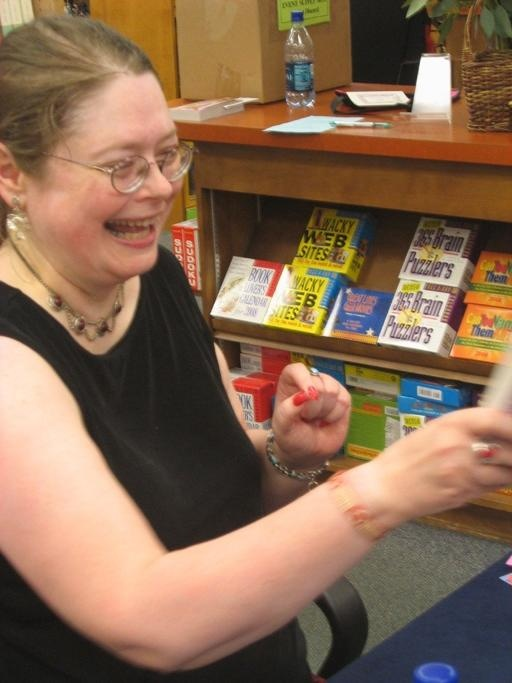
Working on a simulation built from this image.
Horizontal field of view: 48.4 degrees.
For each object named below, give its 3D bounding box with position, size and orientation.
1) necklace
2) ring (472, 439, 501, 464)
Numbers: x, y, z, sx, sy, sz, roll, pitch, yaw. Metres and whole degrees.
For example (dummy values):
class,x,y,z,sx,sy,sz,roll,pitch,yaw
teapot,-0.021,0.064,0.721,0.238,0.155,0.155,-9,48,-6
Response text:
class,x,y,z,sx,sy,sz,roll,pitch,yaw
necklace,-0.263,-0.068,0.791,0.028,0.145,0.110,-37,5,30
ring,0.194,0.095,0.489,0.021,0.018,0.013,4,41,11
